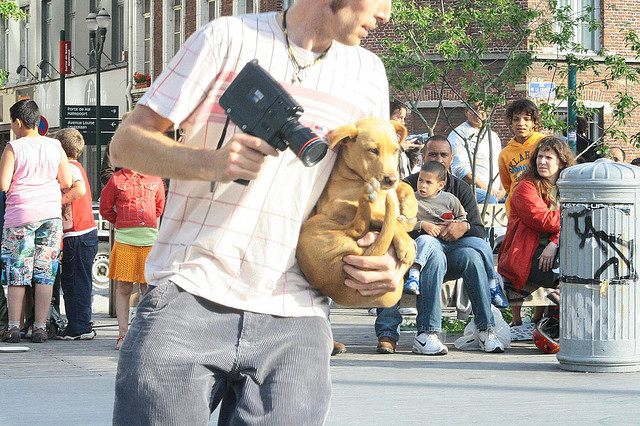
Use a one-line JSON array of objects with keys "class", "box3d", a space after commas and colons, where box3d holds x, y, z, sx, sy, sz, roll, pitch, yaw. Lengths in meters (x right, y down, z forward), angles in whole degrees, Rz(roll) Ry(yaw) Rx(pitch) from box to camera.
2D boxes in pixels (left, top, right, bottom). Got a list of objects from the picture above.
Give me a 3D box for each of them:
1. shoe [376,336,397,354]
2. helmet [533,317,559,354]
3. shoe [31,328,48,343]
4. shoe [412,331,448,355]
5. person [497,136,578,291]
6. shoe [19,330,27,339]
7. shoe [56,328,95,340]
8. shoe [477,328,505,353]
[{"class": "shoe", "box3d": [0.759, 1.560, 14.873, 0.204, 0.172, 0.239, 0, 10, 8]}, {"class": "helmet", "box3d": [2.596, 1.433, 14.801, 0.287, 0.425, 0.509, 1, 10, 9]}, {"class": "shoe", "box3d": [-3.514, 1.553, 16.002, 0.200, 0.192, 0.284, -3, 10, -12]}, {"class": "shoe", "box3d": [1.250, 1.519, 14.731, 0.394, 0.276, 0.224, 0, 10, 7]}, {"class": "person", "box3d": [2.517, 0.043, 15.141, 0.852, 1.838, 0.584, 1, 11, 14]}, {"class": "shoe", "box3d": [-3.786, 1.580, 16.327, 0.074, 0.092, 0.084, 1, 2, -8]}, {"class": "shoe", "box3d": [-3.120, 1.589, 16.321, 0.426, 0.184, 0.165, 4, -3, 5]}, {"class": "shoe", "box3d": [1.968, 1.505, 14.863, 0.303, 0.288, 0.213, 0, 10, 7]}]
